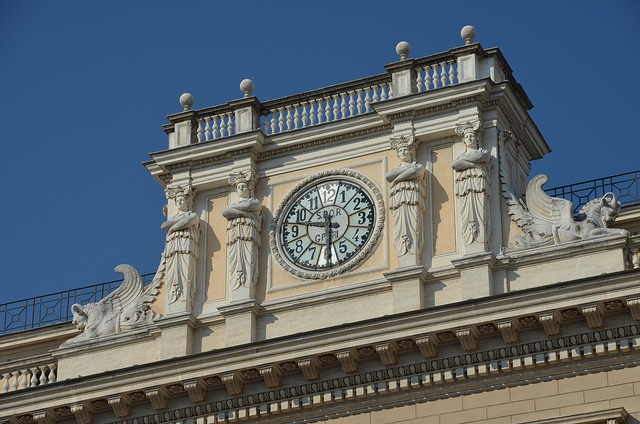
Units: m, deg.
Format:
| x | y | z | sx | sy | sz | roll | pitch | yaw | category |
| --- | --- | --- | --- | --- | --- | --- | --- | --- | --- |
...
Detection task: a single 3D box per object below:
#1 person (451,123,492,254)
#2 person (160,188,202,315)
| x | y | z | sx | sy | sz | roll | pitch | yaw | category |
| --- | --- | --- | --- | --- | --- | --- | --- | --- | --- |
| 4.140 | -0.866 | 60.858 | 1.308 | 3.285 | 0.831 | -6 | -11 | 24 | person |
| -3.805 | 0.822 | 62.854 | 1.194 | 3.233 | 0.806 | -7 | -18 | 31 | person |
